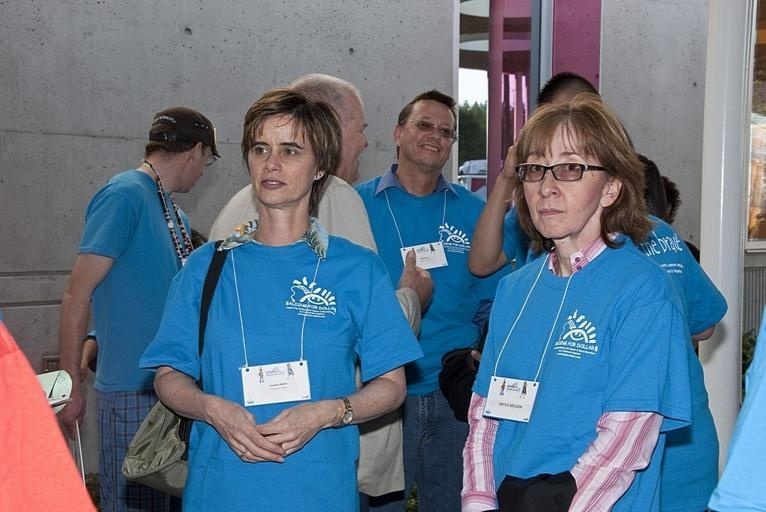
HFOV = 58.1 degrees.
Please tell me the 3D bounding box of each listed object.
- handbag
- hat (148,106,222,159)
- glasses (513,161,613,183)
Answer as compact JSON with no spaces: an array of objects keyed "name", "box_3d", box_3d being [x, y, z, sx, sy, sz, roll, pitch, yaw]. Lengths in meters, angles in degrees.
[{"name":"handbag","box_3d":[-0.886,0.775,2.725,0.263,0.372,0.155,-4,9,-16]},{"name":"hat","box_3d":[-1.111,-0.689,3.913,0.246,0.176,0.346,5,6,37]},{"name":"glasses","box_3d":[0.681,-0.319,2.643,0.336,0.076,0.097,1,10,17]}]
